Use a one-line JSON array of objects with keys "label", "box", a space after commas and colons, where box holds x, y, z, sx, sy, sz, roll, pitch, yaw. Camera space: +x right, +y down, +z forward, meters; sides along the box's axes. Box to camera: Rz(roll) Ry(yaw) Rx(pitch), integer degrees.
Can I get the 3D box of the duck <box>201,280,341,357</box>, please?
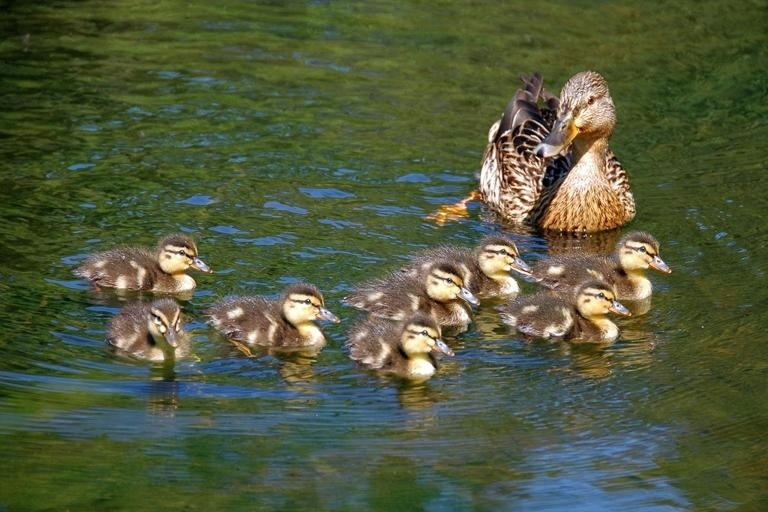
[{"label": "duck", "box": [-0.812, 0.478, 7.970, 1.227, 0.531, 0.528, 12, 19, 0]}]
